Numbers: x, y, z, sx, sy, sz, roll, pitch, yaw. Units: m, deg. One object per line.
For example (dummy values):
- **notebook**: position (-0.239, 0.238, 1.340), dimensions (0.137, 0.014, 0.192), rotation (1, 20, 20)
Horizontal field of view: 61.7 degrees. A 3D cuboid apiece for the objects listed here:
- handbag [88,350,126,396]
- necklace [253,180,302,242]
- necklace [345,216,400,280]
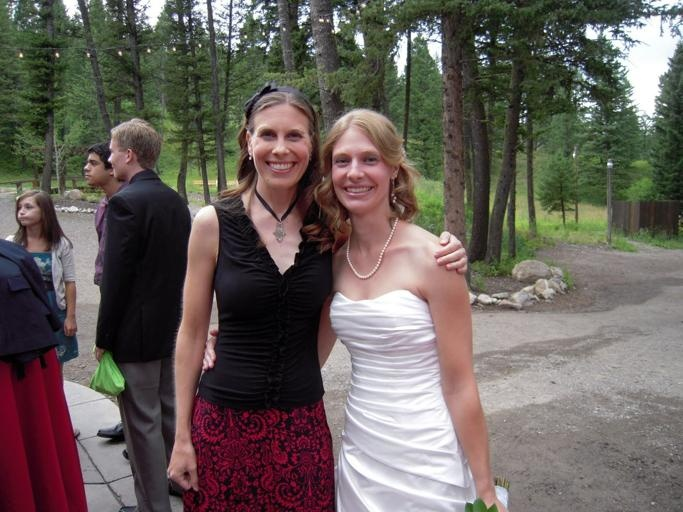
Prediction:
- **handbag**: position (-1.907, 0.989, 4.705), dimensions (0.245, 0.391, 0.228), rotation (0, 9, -11)
- **necklace**: position (-0.406, -0.273, 3.706), dimensions (0.201, 0.383, 0.043), rotation (-2, -15, -12)
- **necklace**: position (0.216, -0.032, 3.751), dimensions (0.290, 0.446, 0.057), rotation (18, 4, 39)
